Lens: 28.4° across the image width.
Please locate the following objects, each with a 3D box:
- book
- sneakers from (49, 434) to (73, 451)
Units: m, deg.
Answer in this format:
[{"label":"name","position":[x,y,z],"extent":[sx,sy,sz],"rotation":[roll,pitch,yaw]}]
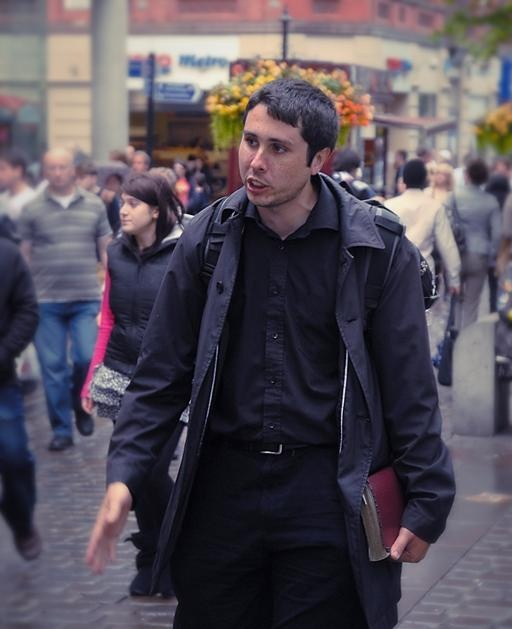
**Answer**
[{"label":"book","position":[0.284,0.438,2.219],"extent":[0.059,0.170,0.130],"rotation":[-10,-9,43]},{"label":"sneakers","position":[-1.228,0.807,6.384],"extent":[0.158,0.076,0.177],"rotation":[-2,7,-16]}]
